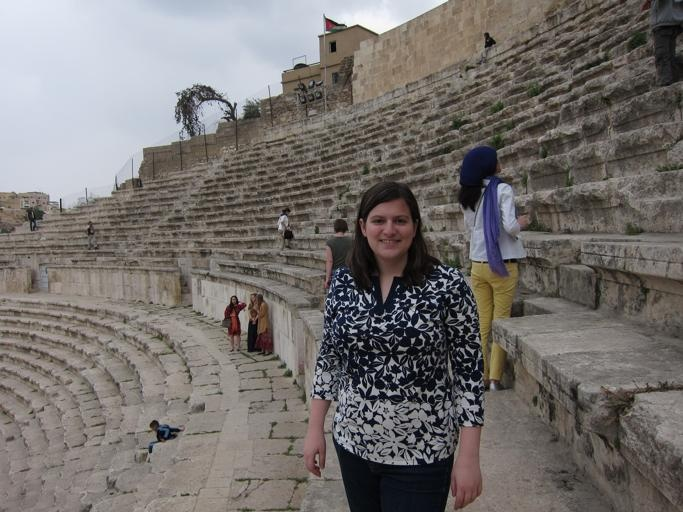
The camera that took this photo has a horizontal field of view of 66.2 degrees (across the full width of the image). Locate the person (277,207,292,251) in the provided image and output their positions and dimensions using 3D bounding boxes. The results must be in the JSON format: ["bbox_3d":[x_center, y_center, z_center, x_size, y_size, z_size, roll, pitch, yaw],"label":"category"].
[{"bbox_3d":[-1.563,-0.777,14.460,0.394,1.107,1.749,-5,5,-6],"label":"person"}]

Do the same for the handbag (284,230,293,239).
[{"bbox_3d":[-1.419,-0.561,13.709,0.186,0.202,0.194,7,6,36],"label":"handbag"}]

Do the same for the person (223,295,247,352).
[{"bbox_3d":[-2.205,1.343,10.742,0.477,0.946,1.453,-6,5,-12],"label":"person"}]

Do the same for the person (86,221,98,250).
[{"bbox_3d":[-10.681,-0.863,22.233,0.388,1.163,1.726,-7,5,-25],"label":"person"}]

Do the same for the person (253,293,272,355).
[{"bbox_3d":[-1.506,1.294,9.885,0.331,1.082,0.332,-4,5,6],"label":"person"}]
